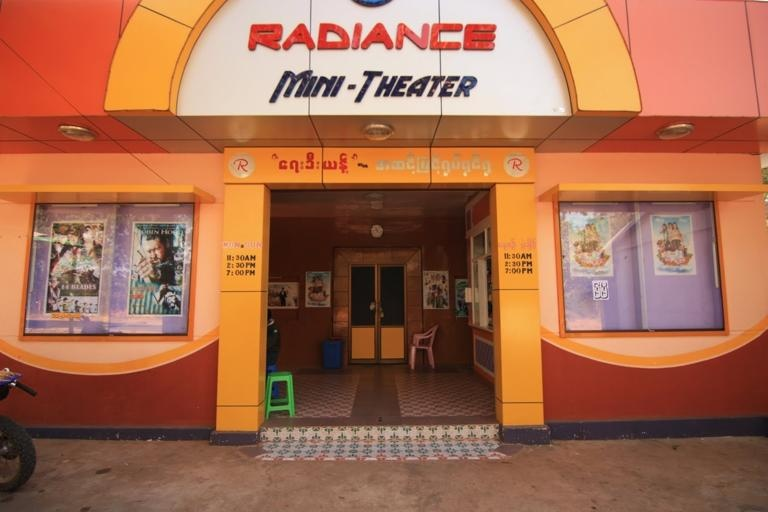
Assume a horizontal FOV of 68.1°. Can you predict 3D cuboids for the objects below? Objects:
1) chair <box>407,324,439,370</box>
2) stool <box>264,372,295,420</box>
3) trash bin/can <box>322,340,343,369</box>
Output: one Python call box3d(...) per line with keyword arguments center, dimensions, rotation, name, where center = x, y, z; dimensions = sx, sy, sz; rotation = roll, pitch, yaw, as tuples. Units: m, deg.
box3d(center=(0.862, 2.139, 13.368), dimensions=(0.774, 0.901, 0.753), rotation=(3, -5, -28), name="chair")
box3d(center=(-1.722, 2.244, 9.382), dimensions=(0.667, 0.797, 0.595), rotation=(1, -3, -4), name="stool")
box3d(center=(-1.216, 2.297, 13.522), dimensions=(0.589, 0.780, 0.672), rotation=(0, -3, 1), name="trash bin/can")
